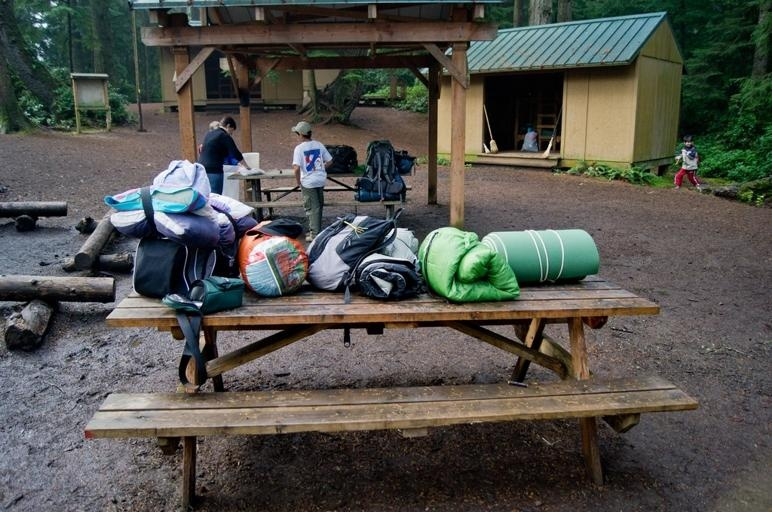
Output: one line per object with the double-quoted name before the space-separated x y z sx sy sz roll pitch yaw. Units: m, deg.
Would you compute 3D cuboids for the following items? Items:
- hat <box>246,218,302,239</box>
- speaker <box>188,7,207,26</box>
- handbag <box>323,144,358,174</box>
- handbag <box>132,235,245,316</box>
"hat" -1.118 -0.242 6.318 0.546 0.213 0.336 -4 19 -12
"speaker" -3.036 -3.835 10.239 0.281 0.246 0.600 -5 18 -14
"handbag" -0.844 -1.828 12.185 0.559 0.506 0.726 3 11 15
"handbag" -1.796 0.198 5.984 1.010 0.662 0.738 12 18 39
